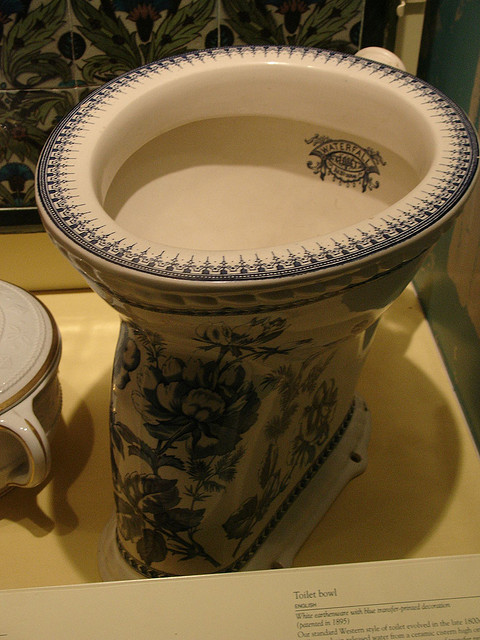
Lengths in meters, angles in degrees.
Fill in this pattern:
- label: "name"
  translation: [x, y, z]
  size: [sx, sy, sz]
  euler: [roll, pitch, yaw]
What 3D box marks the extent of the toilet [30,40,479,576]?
- label: "toilet"
  translation: [0.039, 0.006, 0.671]
  size: [0.360, 0.502, 0.418]
  euler: [8, 37, 21]
